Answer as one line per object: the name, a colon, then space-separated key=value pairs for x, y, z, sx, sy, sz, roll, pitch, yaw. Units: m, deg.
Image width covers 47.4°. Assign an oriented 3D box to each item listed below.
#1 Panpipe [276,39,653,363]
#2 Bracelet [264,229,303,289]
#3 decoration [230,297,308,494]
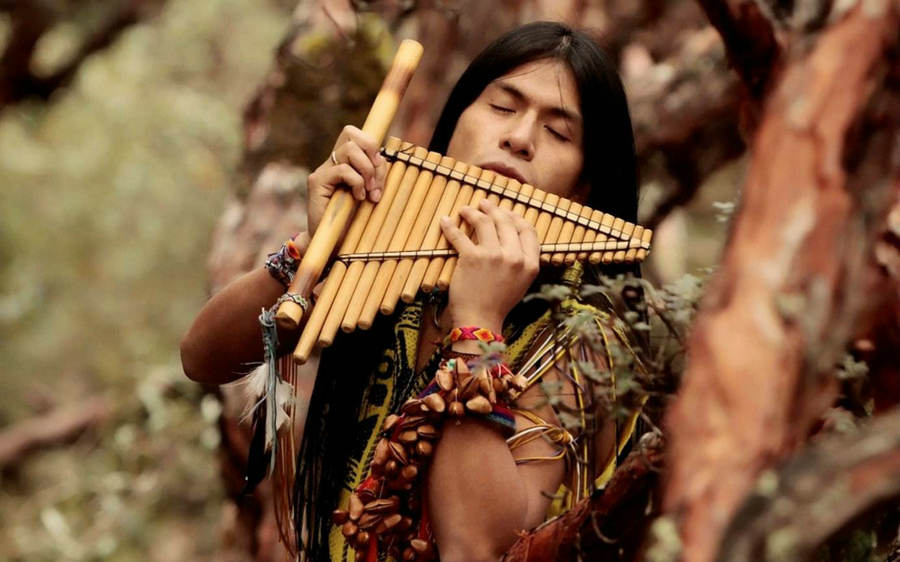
Panpipe: x=0.016 y=-0.202 z=2.543 sx=0.823 sy=0.885 sz=0.087 roll=21 pitch=-14 yaw=0
Bracelet: x=-0.497 y=-0.073 z=2.970 sx=0.070 sy=0.115 sz=0.155 roll=37 pitch=18 yaw=29
decoration: x=-0.533 y=0.350 z=2.977 sx=0.181 sy=0.640 sz=0.161 roll=-21 pitch=23 yaw=-40
